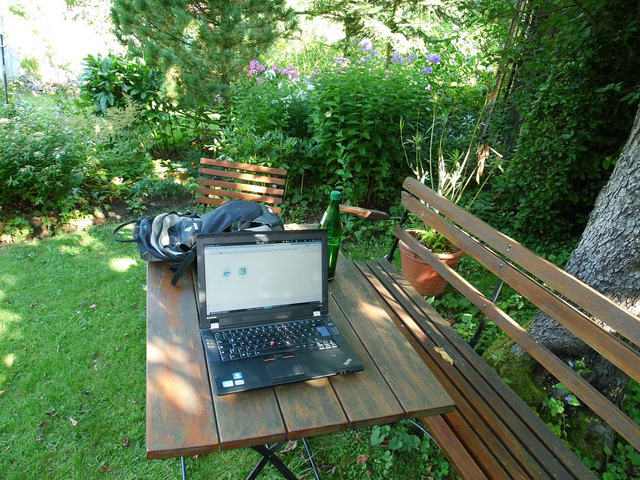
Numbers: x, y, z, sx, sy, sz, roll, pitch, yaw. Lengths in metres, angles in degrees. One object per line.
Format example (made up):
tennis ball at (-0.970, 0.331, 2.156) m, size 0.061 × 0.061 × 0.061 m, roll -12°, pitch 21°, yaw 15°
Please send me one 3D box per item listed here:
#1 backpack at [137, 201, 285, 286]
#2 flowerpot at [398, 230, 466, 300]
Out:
backpack at (-0.698, -0.048, 2.618) m, size 0.724 × 0.289 × 0.520 m, roll -3°, pitch 30°, yaw -20°
flowerpot at (0.835, 0.199, 3.557) m, size 0.486 × 0.364 × 0.481 m, roll -17°, pitch 34°, yaw -36°
